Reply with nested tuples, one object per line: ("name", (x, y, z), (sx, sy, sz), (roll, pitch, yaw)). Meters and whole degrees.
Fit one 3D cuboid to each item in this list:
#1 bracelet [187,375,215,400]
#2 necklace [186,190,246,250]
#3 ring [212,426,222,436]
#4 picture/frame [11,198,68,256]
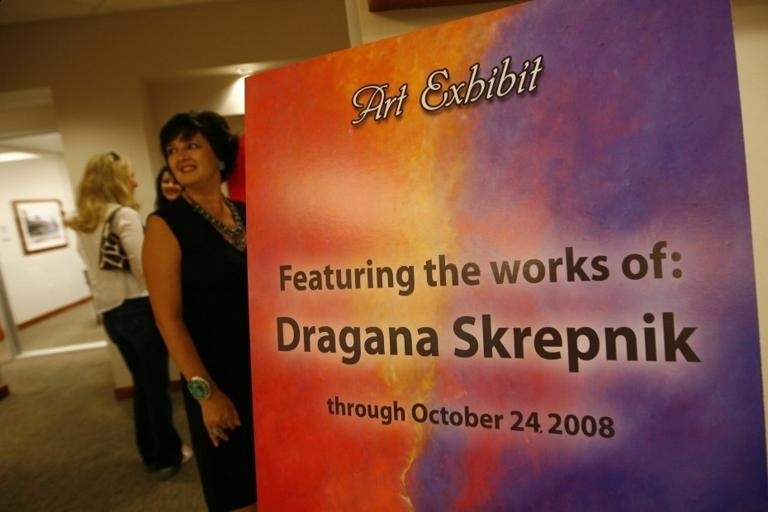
("bracelet", (-0.726, 0.520, 2.454), (0.093, 0.112, 0.046), (1, 5, 23))
("necklace", (-0.690, -0.113, 2.578), (0.175, 0.250, 0.077), (-19, -14, -41))
("ring", (-0.663, 0.685, 2.462), (0.029, 0.038, 0.009), (-2, 5, -16))
("picture/frame", (-1.534, -0.139, 2.791), (0.220, 0.255, 0.019), (-7, 7, 8))
